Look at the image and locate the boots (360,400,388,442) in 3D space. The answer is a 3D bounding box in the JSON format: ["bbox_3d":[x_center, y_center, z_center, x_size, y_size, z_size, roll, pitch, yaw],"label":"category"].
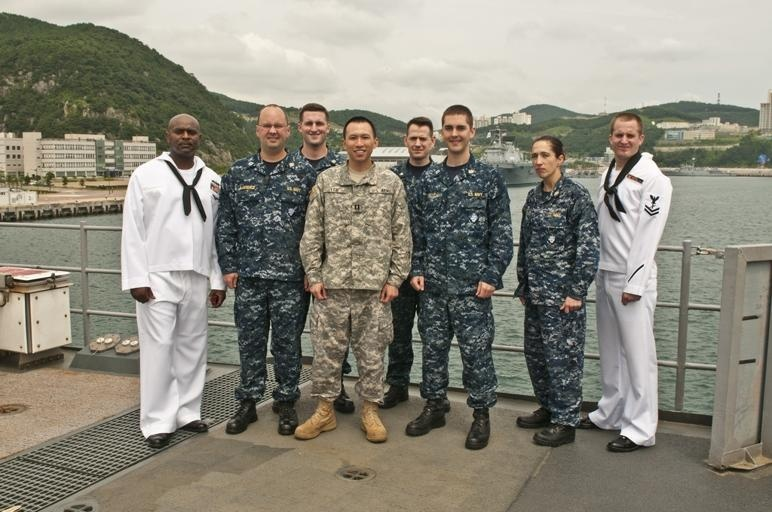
[{"bbox_3d":[-0.094,1.302,5.380,0.204,0.280,0.244,-2,7,-3],"label":"boots"}]

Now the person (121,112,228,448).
[{"bbox_3d":[-1.682,0.140,5.480,0.895,2.578,0.592,-8,9,-37],"label":"person"}]

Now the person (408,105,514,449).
[{"bbox_3d":[0.569,0.117,5.412,0.855,2.632,0.641,-1,8,8],"label":"person"}]

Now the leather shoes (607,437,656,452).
[{"bbox_3d":[1.877,1.437,5.229,0.357,0.095,0.124,2,-3,-3],"label":"leather shoes"}]

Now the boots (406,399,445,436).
[{"bbox_3d":[0.315,1.283,5.522,0.170,0.245,0.456,6,7,41],"label":"boots"}]

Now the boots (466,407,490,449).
[{"bbox_3d":[0.722,1.342,5.318,0.173,0.244,0.362,0,7,16],"label":"boots"}]

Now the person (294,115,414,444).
[{"bbox_3d":[-0.254,0.160,5.455,0.945,2.529,0.618,-2,8,0],"label":"person"}]

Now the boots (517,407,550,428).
[{"bbox_3d":[1.219,1.337,5.551,0.329,0.105,0.114,2,-1,-7],"label":"boots"}]

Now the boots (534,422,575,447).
[{"bbox_3d":[1.307,1.386,5.264,0.382,0.128,0.135,0,3,-14],"label":"boots"}]

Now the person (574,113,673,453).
[{"bbox_3d":[1.888,0.162,5.333,0.675,2.590,0.682,-3,8,-9],"label":"person"}]
